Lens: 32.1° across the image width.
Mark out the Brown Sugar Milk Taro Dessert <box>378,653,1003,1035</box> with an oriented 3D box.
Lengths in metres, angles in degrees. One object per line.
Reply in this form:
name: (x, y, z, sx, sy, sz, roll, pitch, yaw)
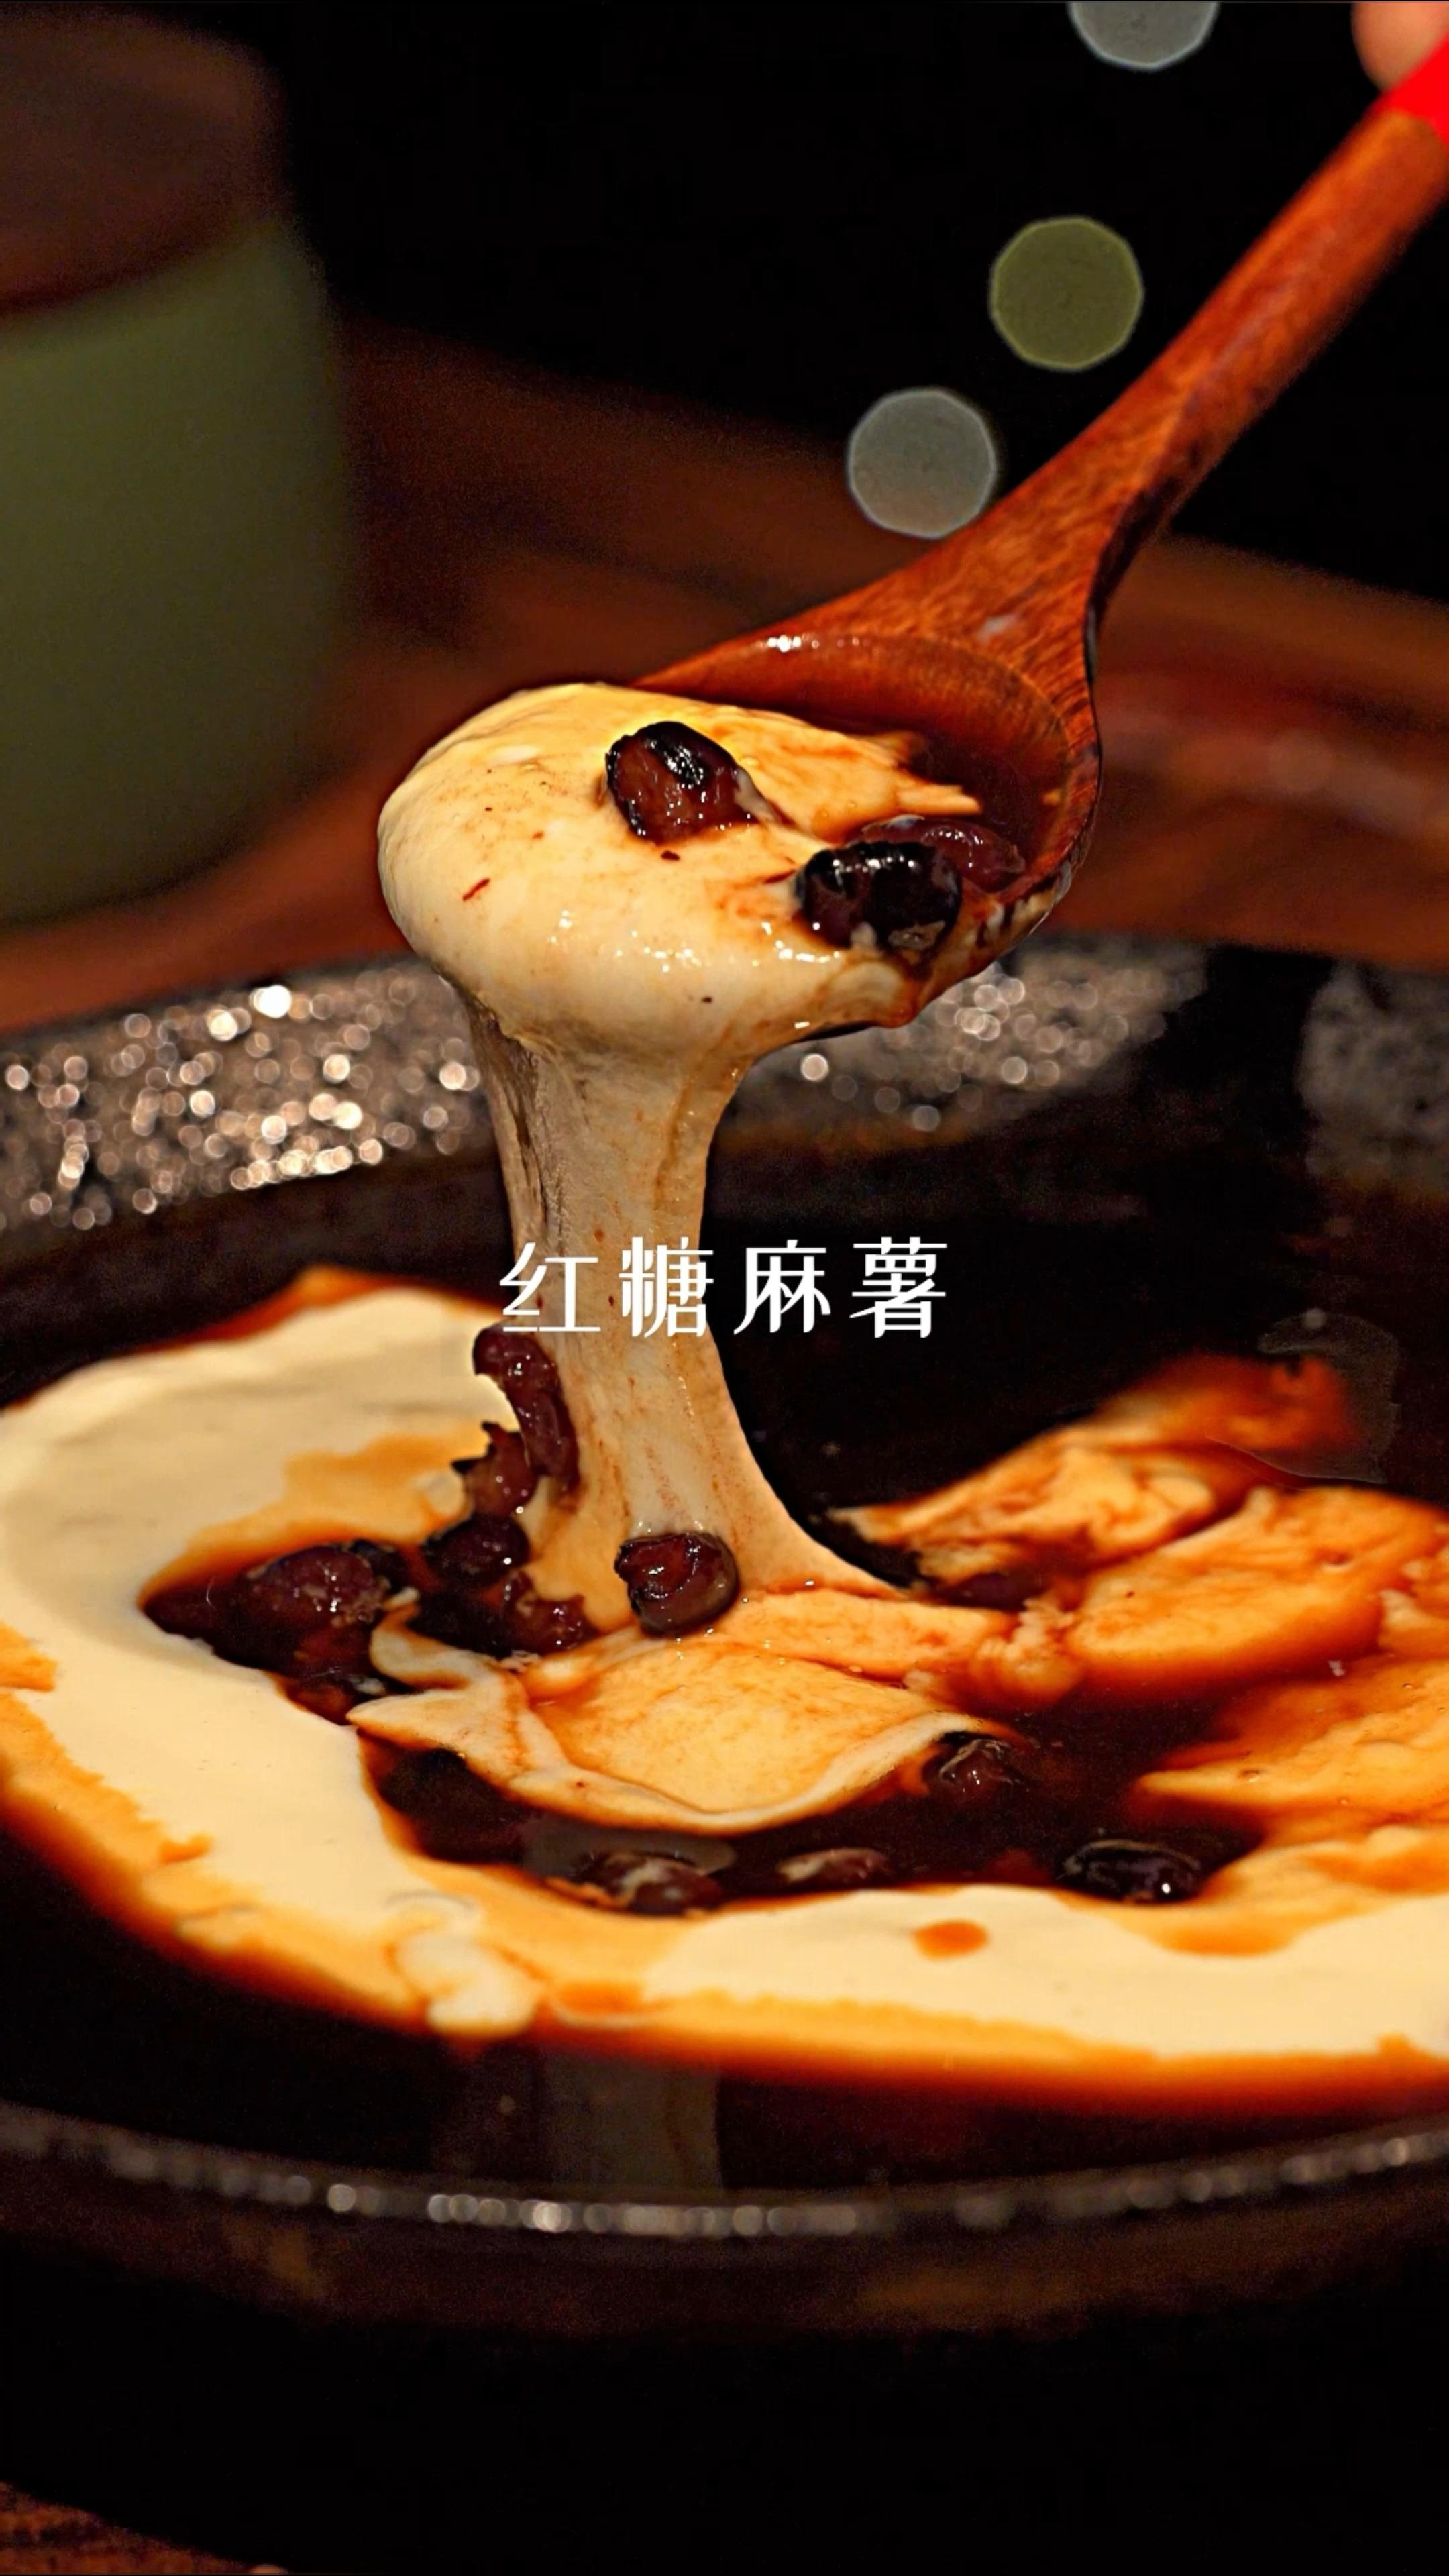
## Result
Brown Sugar Milk Taro Dessert: (-0.037, -0.233, 1.463, 0.280, 0.096, 0.248, -2, 38, -2)
